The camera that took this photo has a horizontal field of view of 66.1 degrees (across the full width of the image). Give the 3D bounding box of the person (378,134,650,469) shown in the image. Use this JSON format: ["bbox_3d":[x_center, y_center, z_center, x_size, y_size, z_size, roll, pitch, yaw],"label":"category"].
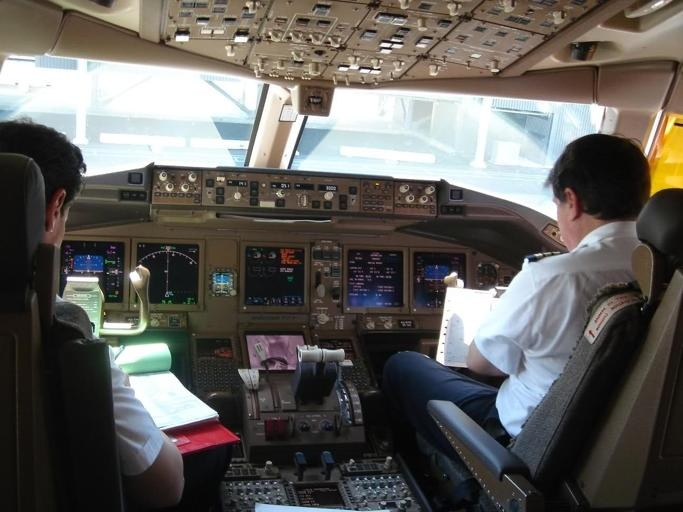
[{"bbox_3d":[0.726,0.280,2.230,0.840,1.421,1.012,-2,5,-33],"label":"person"}]
